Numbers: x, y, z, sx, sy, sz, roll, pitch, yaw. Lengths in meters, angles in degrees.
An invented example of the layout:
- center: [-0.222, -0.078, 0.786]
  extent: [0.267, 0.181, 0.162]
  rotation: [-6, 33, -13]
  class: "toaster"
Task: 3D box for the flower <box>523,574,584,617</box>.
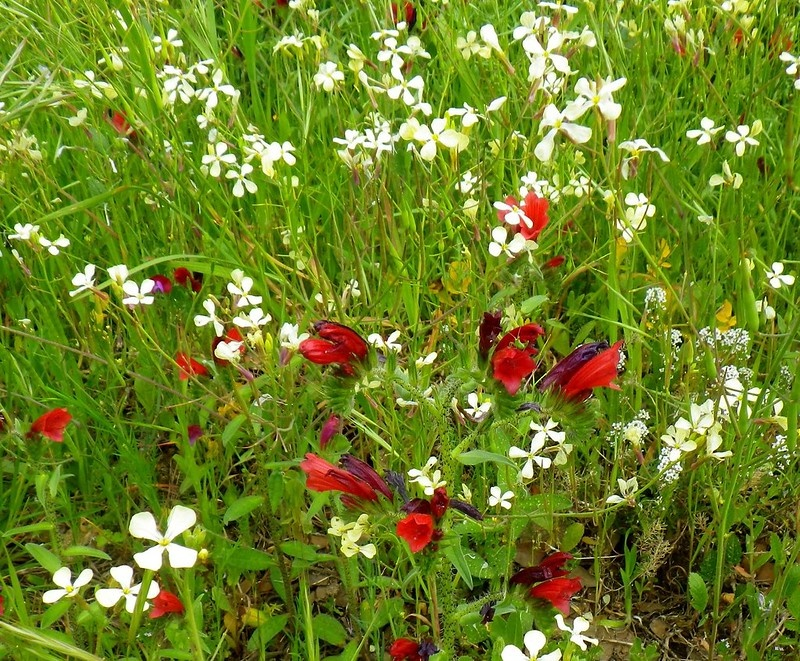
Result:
- center: [0.378, 0.638, 1.828]
  extent: [0.096, 0.095, 0.117]
  rotation: [-20, 99, -32]
  class: "flower"
